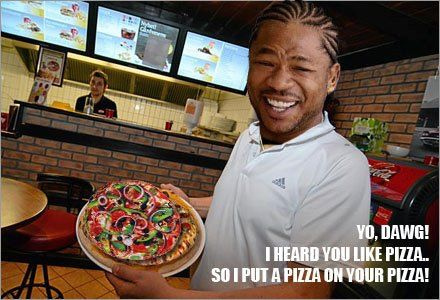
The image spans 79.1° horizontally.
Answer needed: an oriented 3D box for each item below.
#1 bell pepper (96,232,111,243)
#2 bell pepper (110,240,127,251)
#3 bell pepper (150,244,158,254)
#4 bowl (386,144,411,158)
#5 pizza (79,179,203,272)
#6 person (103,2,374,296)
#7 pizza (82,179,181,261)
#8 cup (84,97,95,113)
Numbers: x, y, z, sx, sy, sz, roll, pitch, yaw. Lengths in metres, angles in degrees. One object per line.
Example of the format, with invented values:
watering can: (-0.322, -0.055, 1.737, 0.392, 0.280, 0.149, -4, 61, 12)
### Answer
bell pepper: (-0.526, 0.395, 1.210, 0.061, 0.049, 0.019, 9, -1, -22)
bell pepper: (-0.459, 0.437, 1.212, 0.064, 0.016, 0.036, 27, 35, 1)
bell pepper: (-0.300, 0.452, 1.218, 0.032, 0.043, 0.015, 9, -1, -12)
bowl: (1.597, 0.005, 2.396, 0.156, 0.069, 0.149, 12, -2, 0)
pizza: (-0.370, 0.357, 1.311, 0.581, 0.433, 0.268, 8, -1, -2)
person: (0.193, 0.079, 1.481, 1.028, 1.482, 0.671, 9, -1, -10)
pizza: (-0.377, 0.340, 1.309, 0.400, 0.436, 0.135, 33, 21, -15)
cup: (-1.712, -0.592, 3.501, 0.102, 0.220, 0.242, 9, -2, -28)
